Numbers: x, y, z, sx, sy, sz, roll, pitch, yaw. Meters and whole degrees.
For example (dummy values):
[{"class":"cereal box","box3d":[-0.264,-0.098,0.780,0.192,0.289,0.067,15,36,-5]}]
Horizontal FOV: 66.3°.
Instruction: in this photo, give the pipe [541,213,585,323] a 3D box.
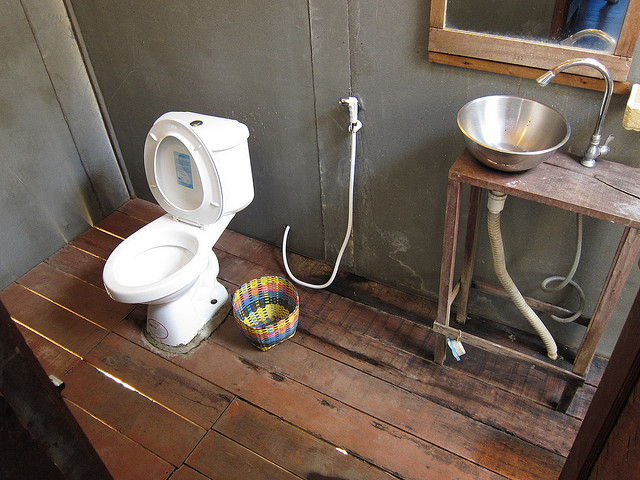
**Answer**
[{"class":"pipe","box3d":[1.015,0.101,2.044,0.130,0.583,0.136,-36,48,-13]}]

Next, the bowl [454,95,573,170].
[{"class":"bowl","box3d":[0.668,-0.441,1.679,0.330,0.124,0.328,-1,53,2]}]

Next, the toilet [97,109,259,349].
[{"class":"toilet","box3d":[-0.708,-0.044,2.384,0.501,0.975,0.882,12,34,19]}]
